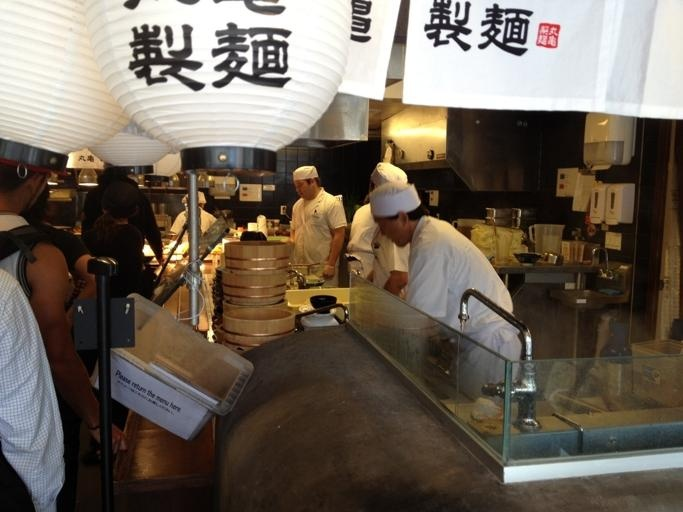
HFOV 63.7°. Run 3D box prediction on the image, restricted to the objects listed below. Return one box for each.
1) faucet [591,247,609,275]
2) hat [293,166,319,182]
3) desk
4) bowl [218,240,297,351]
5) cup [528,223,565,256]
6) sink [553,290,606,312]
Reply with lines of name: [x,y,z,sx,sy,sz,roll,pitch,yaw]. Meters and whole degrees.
faucet: [2.316,0.038,4.774,0.129,0.217,0.216,2,12,18]
hat: [-0.324,-0.813,5.386,0.185,0.114,0.190,5,15,30]
desk: [1.811,0.543,5.051,0.817,0.918,0.882,-2,4,-5]
bowl: [-0.393,0.137,2.608,0.400,0.632,0.424,0,4,0]
cup: [2.022,-0.162,5.260,0.262,0.282,0.538,-1,12,6]
sink: [2.032,0.354,4.610,0.448,0.151,0.200,6,14,32]
